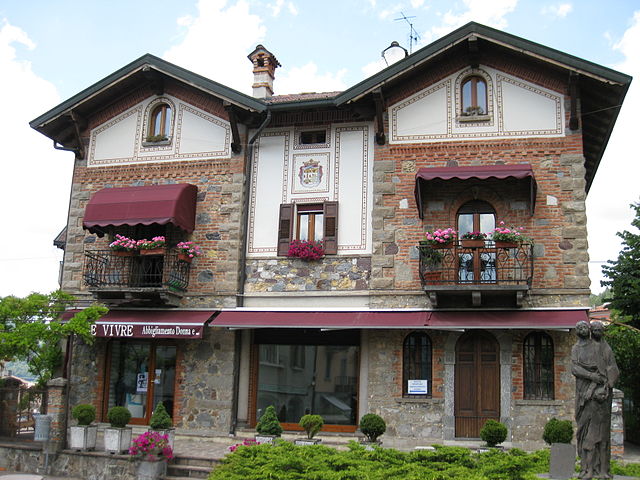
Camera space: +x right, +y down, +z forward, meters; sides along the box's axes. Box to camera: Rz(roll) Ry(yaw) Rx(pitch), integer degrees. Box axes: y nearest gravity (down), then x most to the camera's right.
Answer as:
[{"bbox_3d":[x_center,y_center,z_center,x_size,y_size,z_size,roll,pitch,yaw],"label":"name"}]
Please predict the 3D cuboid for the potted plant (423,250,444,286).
[{"bbox_3d":[3.275,0.815,22.659,0.580,1.024,0.445,1,-11,-1],"label":"potted plant"}]

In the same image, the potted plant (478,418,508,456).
[{"bbox_3d":[4.497,5.020,20.422,0.487,0.727,0.588,11,-15,-42],"label":"potted plant"}]

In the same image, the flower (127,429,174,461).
[{"bbox_3d":[-4.325,5.316,20.307,0.852,0.570,0.835,16,-21,-42],"label":"flower"}]

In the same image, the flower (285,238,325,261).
[{"bbox_3d":[-0.428,0.321,24.201,0.745,0.527,0.780,4,-14,-13],"label":"flower"}]

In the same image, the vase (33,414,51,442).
[{"bbox_3d":[-8.235,5.529,23.218,0.289,0.761,0.589,11,-15,-42],"label":"vase"}]

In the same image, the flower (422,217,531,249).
[{"bbox_3d":[4.510,-0.120,22.809,2.793,0.871,0.872,-1,-12,9],"label":"flower"}]

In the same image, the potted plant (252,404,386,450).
[{"bbox_3d":[-0.059,4.783,20.372,3.128,0.914,1.323,2,-11,-6],"label":"potted plant"}]

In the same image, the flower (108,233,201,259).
[{"bbox_3d":[-5.171,0.208,24.769,2.671,0.810,0.848,2,-11,-4],"label":"flower"}]
